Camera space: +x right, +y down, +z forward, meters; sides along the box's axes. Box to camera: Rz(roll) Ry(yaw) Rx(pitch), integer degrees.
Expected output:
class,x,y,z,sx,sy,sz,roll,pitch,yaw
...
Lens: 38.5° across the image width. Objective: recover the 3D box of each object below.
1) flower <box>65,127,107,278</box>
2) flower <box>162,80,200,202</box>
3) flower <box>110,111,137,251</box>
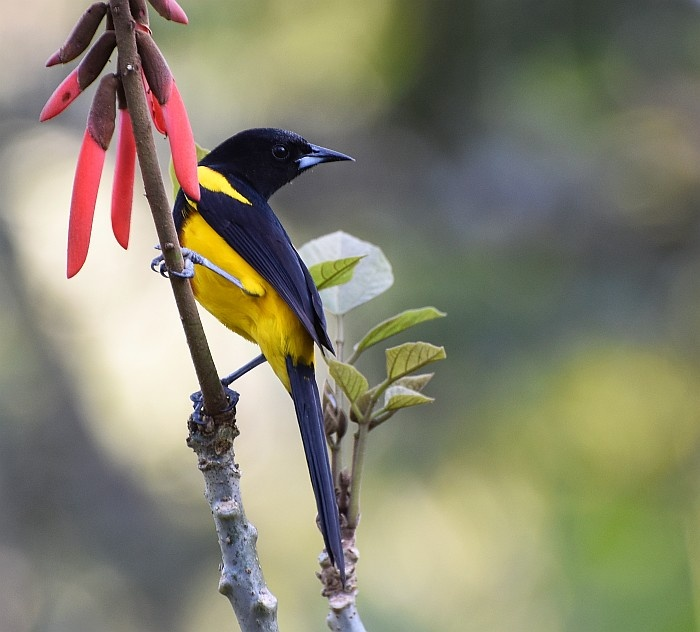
class,x,y,z,sx,sy,sz,roll,pitch,yaw
flower,-0.529,-0.233,1.991,0.025,0.363,0.057,-16,33,-42
flower,-0.338,-0.344,2.015,0.067,0.227,0.163,-1,-7,8
flower,-0.468,-0.282,2.064,0.044,0.252,0.165,2,-7,-14
